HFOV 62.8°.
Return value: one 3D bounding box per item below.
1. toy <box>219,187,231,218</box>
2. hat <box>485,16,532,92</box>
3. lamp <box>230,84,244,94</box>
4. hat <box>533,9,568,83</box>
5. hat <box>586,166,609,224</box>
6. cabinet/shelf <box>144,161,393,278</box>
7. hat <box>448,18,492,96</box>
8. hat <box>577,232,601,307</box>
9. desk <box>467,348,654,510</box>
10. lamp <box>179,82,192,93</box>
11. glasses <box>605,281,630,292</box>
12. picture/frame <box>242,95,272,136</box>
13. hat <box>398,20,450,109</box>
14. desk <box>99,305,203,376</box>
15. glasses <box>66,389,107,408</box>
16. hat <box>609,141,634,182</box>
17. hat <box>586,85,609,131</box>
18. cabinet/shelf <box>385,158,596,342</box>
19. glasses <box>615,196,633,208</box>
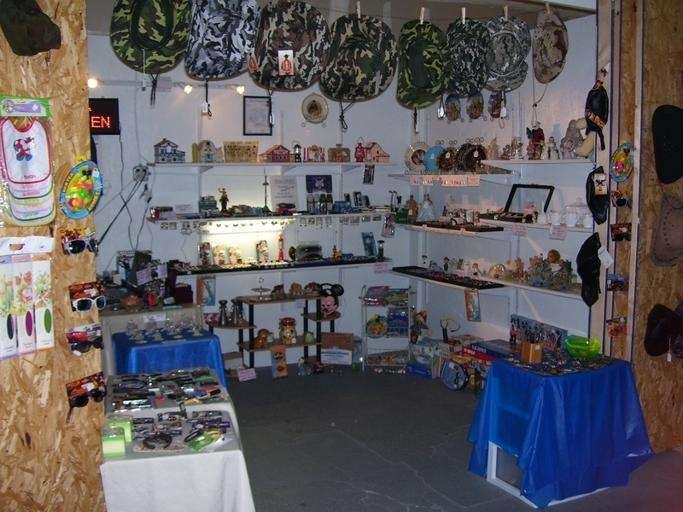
[{"bbox_3d":[-1.528,-0.716,7.297,0.125,0.310,0.464,-2,10,-12],"label":"toy"},{"bbox_3d":[1.467,-1.786,4.919,0.360,0.603,0.466,3,10,18],"label":"hat"},{"bbox_3d":[-1.337,-2.179,7.318,0.149,0.121,0.356,-2,10,-10],"label":"lamp"},{"bbox_3d":[1.879,-1.917,5.022,0.282,0.682,0.179,4,10,24],"label":"hat"},{"bbox_3d":[2.477,-0.577,5.384,0.213,0.564,0.100,4,10,25],"label":"hat"},{"bbox_3d":[-1.001,-0.564,7.571,3.072,1.378,0.572,-4,10,-22],"label":"cabinet/shelf"},{"bbox_3d":[1.097,-1.652,4.737,0.450,0.579,0.145,2,13,-8],"label":"hat"},{"bbox_3d":[2.441,0.143,5.489,0.230,0.752,0.133,4,10,25],"label":"hat"},{"bbox_3d":[1.873,1.284,4.946,1.301,1.041,1.147,-4,9,-31],"label":"desk"},{"bbox_3d":[-2.012,-2.154,7.159,0.089,0.031,0.123,3,-29,-13],"label":"lamp"},{"bbox_3d":[2.686,0.288,5.435,0.215,0.122,0.080,-3,10,-18],"label":"glasses"},{"bbox_3d":[-1.158,-1.911,7.545,0.517,0.697,0.042,-4,8,-22],"label":"picture/frame"},{"bbox_3d":[0.657,-1.449,4.345,0.448,0.655,0.169,0,13,3],"label":"hat"},{"bbox_3d":[-2.138,0.771,6.150,0.787,0.424,0.812,-3,9,-26],"label":"desk"},{"bbox_3d":[-1.583,0.879,3.471,0.208,0.111,0.035,-6,11,-30],"label":"glasses"},{"bbox_3d":[2.673,-0.890,5.320,0.232,0.347,0.065,-4,10,-19],"label":"hat"},{"bbox_3d":[2.439,-1.430,5.310,0.207,0.422,0.071,5,10,27],"label":"hat"},{"bbox_3d":[1.914,-0.062,6.998,0.392,1.780,2.440,-1,3,-28],"label":"cabinet/shelf"},{"bbox_3d":[2.701,-0.514,5.350,0.184,0.104,0.040,-4,10,-18],"label":"glasses"}]
